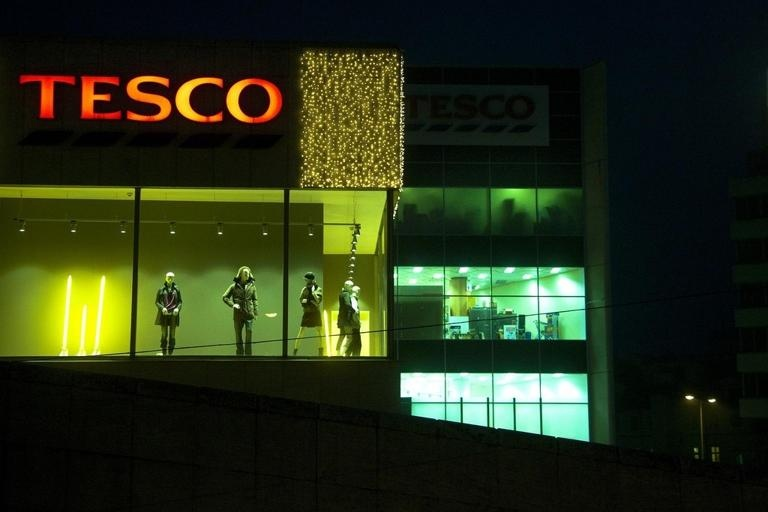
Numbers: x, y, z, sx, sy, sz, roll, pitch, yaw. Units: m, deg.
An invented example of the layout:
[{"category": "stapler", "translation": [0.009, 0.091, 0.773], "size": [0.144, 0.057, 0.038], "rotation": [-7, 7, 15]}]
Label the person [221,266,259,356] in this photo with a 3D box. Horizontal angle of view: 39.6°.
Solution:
[{"category": "person", "translation": [-4.451, 1.650, 33.161], "size": [1.000, 2.735, 0.784], "rotation": [2, -7, -9]}]

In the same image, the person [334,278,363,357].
[{"category": "person", "translation": [-1.054, 1.857, 32.784], "size": [0.799, 2.261, 0.834], "rotation": [3, -8, -13]}]

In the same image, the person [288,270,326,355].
[{"category": "person", "translation": [-2.289, 1.708, 33.062], "size": [0.965, 2.626, 1.420], "rotation": [2, -7, -4]}]
